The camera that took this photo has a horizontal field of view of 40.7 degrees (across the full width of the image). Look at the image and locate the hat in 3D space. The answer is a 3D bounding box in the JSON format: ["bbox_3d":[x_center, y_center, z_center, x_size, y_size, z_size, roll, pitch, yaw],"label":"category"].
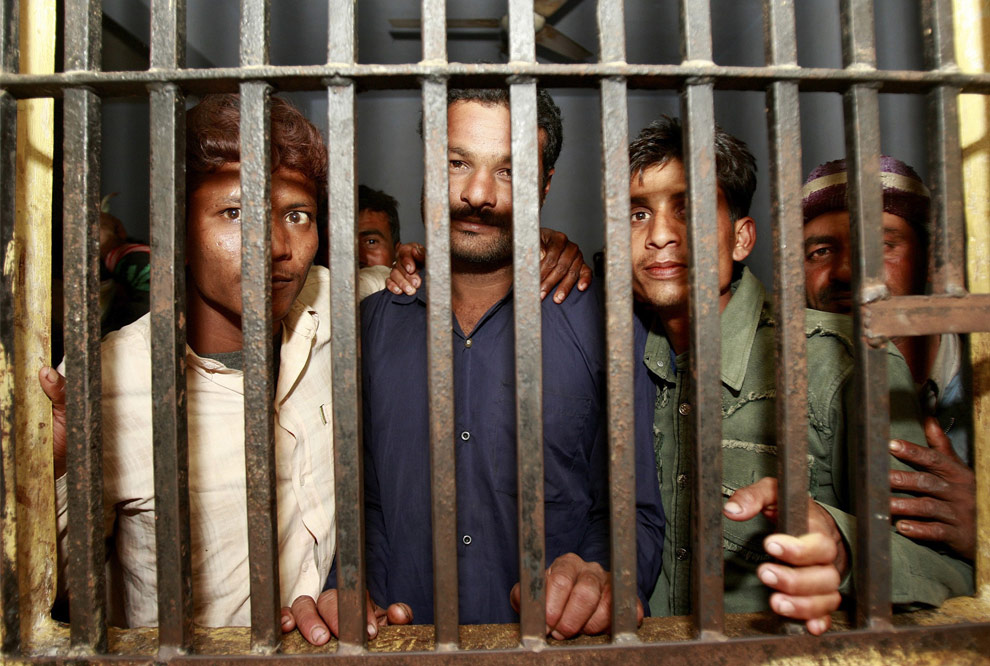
[{"bbox_3d":[1.681,-0.638,6.074,0.504,0.285,0.552,7,-10,-24],"label":"hat"}]
